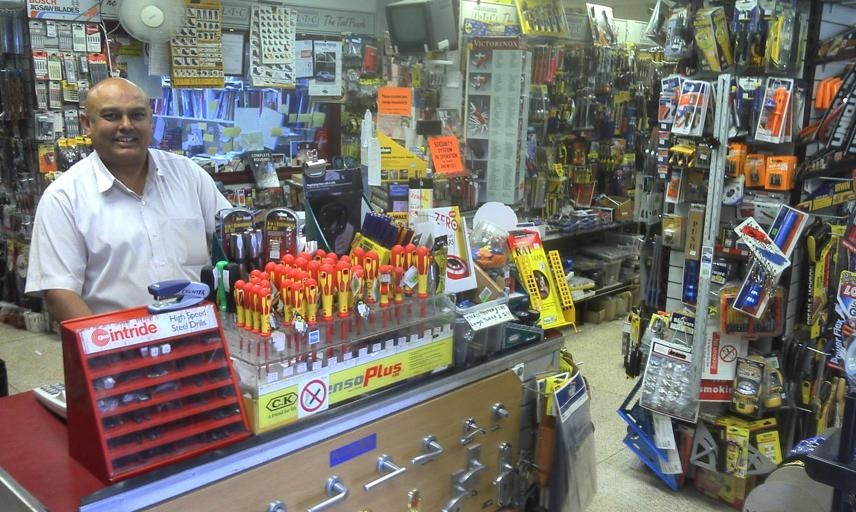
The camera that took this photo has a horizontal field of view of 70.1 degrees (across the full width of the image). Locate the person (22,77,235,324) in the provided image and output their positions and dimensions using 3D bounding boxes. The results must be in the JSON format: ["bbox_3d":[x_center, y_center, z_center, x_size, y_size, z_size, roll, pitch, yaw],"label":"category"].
[{"bbox_3d":[-1.691,-0.091,3.397,0.812,1.678,0.834,-9,17,-38],"label":"person"}]

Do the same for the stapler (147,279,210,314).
[{"bbox_3d":[-0.974,0.161,2.482,0.255,0.121,0.082,-5,-14,19],"label":"stapler"}]

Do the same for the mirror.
[{"bbox_3d":[-1.988,-1.524,5.785,2.213,1.505,0.077,-17,27,-27],"label":"mirror"}]
